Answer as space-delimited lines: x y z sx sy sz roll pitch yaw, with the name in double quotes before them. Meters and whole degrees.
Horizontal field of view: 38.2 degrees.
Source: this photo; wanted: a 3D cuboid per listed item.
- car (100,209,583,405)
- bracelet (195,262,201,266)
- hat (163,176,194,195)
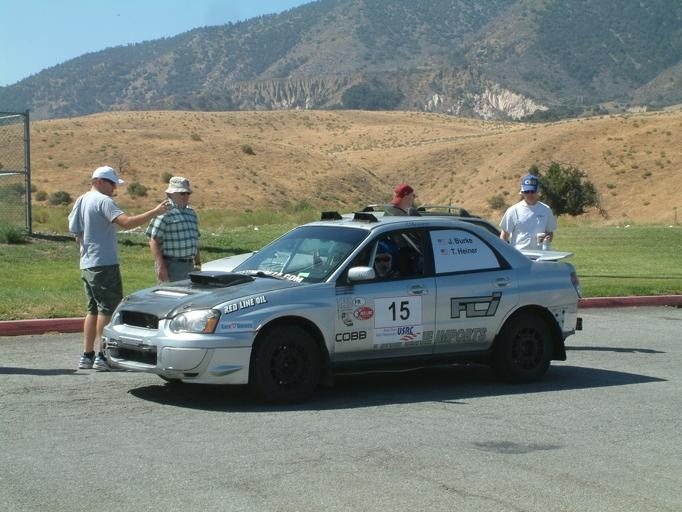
"car" -0.044 0.544 11.489 4.779 1.409 2.212 1 -2 -24
"bracelet" -1.848 0.114 12.697 0.057 0.031 0.051 1 -3 12
"hat" -2.131 -0.919 12.658 0.436 0.173 0.328 2 1 -4
